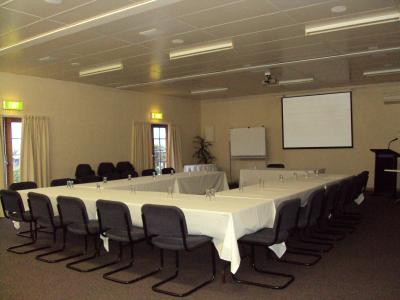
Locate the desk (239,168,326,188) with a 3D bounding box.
[{"bbox_3d":[1.888,0.672,8.265,1.782,0.606,0.706,-3,-5,34],"label":"desk"}]

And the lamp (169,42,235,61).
[{"bbox_3d":[-0.009,-1.990,6.145,1.427,0.123,0.295,0,4,25],"label":"lamp"}]

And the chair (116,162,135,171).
[{"bbox_3d":[-2.312,0.513,9.569,0.553,0.275,0.294,2,-2,-32],"label":"chair"}]

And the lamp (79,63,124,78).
[{"bbox_3d":[-2.354,-1.918,7.293,1.019,0.127,0.074,-7,-2,27],"label":"lamp"}]

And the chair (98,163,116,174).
[{"bbox_3d":[-2.753,0.542,9.098,0.446,0.492,0.448,2,-4,-26],"label":"chair"}]

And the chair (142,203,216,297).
[{"bbox_3d":[-0.255,1.162,3.811,0.889,1.057,0.635,-1,5,2],"label":"chair"}]

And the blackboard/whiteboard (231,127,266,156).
[{"bbox_3d":[1.919,-0.318,11.904,1.537,1.114,0.104,0,3,27],"label":"blackboard/whiteboard"}]

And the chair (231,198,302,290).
[{"bbox_3d":[0.837,1.140,3.954,0.788,1.032,0.629,1,6,24],"label":"chair"}]

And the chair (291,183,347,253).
[{"bbox_3d":[1.917,1.101,4.999,0.655,0.691,1.128,0,-1,34],"label":"chair"}]
